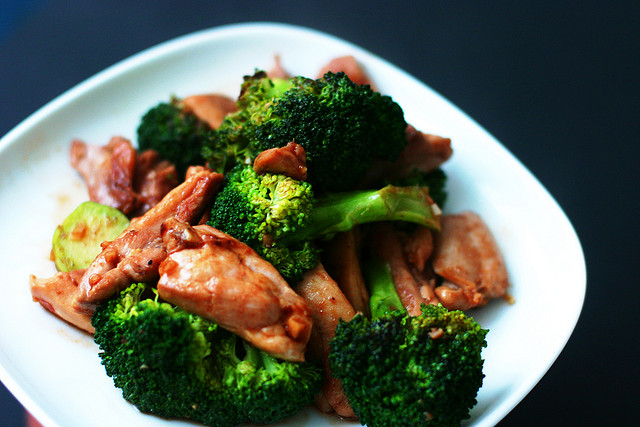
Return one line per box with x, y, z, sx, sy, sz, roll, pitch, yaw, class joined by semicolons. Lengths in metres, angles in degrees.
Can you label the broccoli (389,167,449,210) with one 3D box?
0.713;-0.223;4.017;0.332;0.156;0.274;20;65;27;broccoli
